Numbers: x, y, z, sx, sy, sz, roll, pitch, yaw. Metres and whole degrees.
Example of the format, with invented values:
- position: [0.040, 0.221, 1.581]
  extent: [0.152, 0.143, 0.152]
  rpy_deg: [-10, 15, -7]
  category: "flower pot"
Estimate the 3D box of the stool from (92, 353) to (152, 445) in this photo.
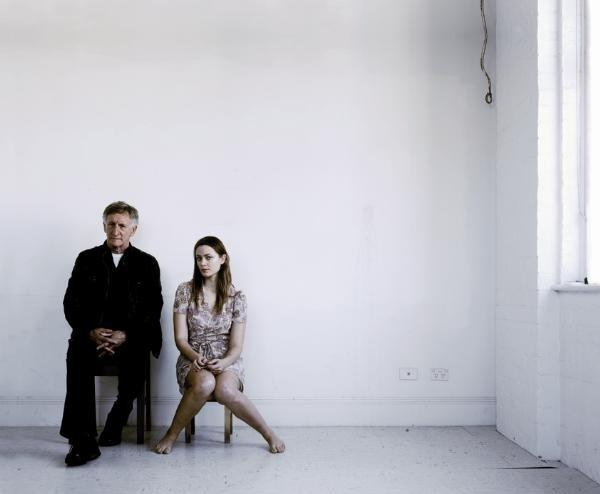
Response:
- position: [-1.132, 0.941, 4.014]
  extent: [0.262, 0.485, 0.288]
  rpy_deg: [0, -6, -13]
  category: "stool"

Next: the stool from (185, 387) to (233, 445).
- position: [-0.603, 1.116, 4.048]
  extent: [0.286, 0.320, 0.305]
  rpy_deg: [1, -6, 1]
  category: "stool"

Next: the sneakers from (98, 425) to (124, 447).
- position: [-1.198, 1.205, 3.861]
  extent: [0.146, 0.159, 0.088]
  rpy_deg: [16, -18, -33]
  category: "sneakers"

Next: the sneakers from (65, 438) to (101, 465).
- position: [-1.280, 1.213, 3.594]
  extent: [0.103, 0.215, 0.213]
  rpy_deg: [-10, -14, 30]
  category: "sneakers"
